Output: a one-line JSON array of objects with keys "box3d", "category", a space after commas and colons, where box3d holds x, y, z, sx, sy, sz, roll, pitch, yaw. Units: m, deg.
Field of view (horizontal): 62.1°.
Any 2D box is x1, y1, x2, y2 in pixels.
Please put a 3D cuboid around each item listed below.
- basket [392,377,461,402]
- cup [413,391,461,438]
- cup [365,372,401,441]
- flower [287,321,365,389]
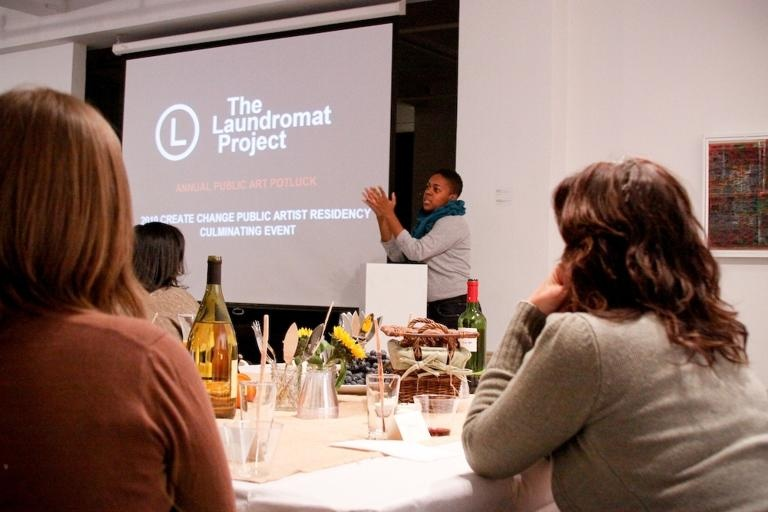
[{"box3d": [0.130, 0.370, 1.811, 0.121, 0.054, 0.095, -1, -6, -5], "category": "basket"}, {"box3d": [0.132, 0.391, 1.576, 0.103, 0.084, 0.102, 0, -8, 0], "category": "cup"}, {"box3d": [-0.008, 0.355, 1.602, 0.067, 0.113, 0.073, 4, -11, 1], "category": "cup"}, {"box3d": [-0.154, 0.287, 1.846, 0.178, 0.182, 0.163, 1, -11, -6], "category": "flower"}]
